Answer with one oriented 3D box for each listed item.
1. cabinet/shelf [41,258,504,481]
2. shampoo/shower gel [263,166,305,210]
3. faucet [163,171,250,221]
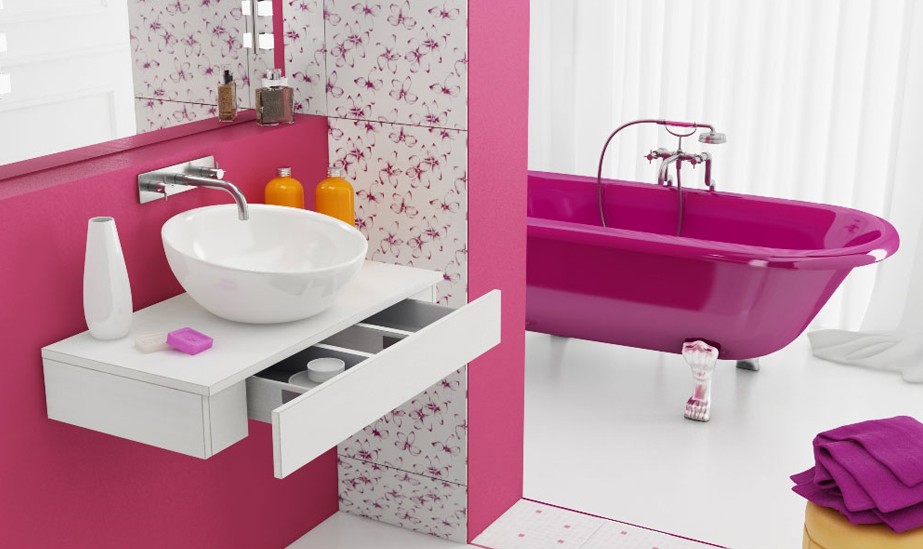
[{"bbox_3d":[-0.555,0.238,2.239,0.783,0.285,1.162,19,27,37],"label":"cabinet/shelf"},{"bbox_3d":[-0.613,-0.330,2.573,0.149,0.159,0.148,11,19,26],"label":"shampoo/shower gel"},{"bbox_3d":[-0.830,-0.270,2.281,0.325,0.123,0.158,4,22,4],"label":"faucet"}]
